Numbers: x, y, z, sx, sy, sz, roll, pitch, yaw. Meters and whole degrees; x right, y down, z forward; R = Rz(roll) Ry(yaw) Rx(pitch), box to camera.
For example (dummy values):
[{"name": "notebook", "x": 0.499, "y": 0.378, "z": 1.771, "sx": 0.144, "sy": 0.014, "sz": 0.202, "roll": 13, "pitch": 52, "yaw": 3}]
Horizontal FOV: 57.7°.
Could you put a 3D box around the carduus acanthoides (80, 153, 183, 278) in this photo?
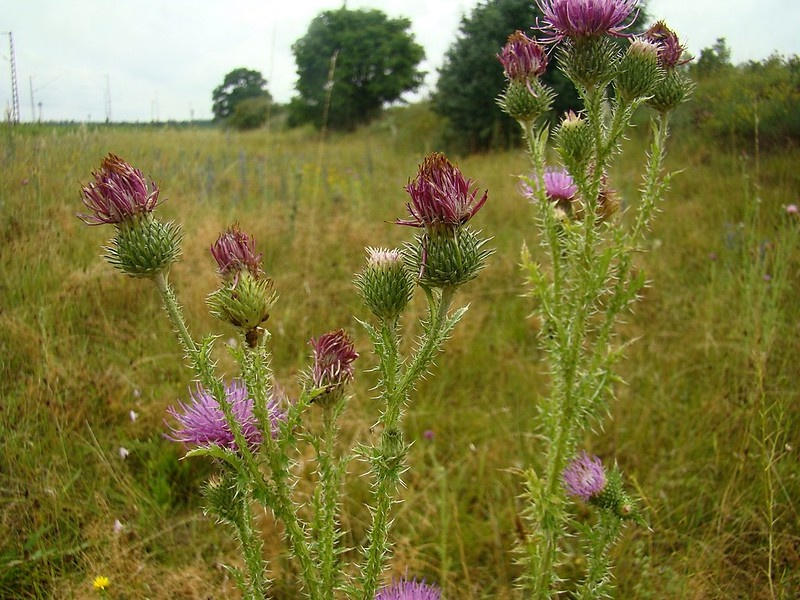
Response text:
[{"name": "carduus acanthoides", "x": -1.498, "y": -0.481, "z": 4.117, "sx": 0.460, "sy": 0.717, "sz": 0.466, "roll": -11, "pitch": 16, "yaw": 17}]

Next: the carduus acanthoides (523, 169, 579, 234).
[{"name": "carduus acanthoides", "x": 0.956, "y": -0.673, "z": 4.665, "sx": 0.375, "sy": 0.329, "sz": 0.861, "roll": 5, "pitch": 15, "yaw": 14}]

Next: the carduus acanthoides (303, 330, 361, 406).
[{"name": "carduus acanthoides", "x": -0.382, "y": 0.398, "z": 4.169, "sx": 0.282, "sy": 0.456, "sz": 0.290, "roll": -2, "pitch": -9, "yaw": 26}]

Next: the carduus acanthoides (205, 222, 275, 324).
[{"name": "carduus acanthoides", "x": -0.909, "y": -0.121, "z": 4.127, "sx": 0.362, "sy": 0.575, "sz": 0.315, "roll": -2, "pitch": 13, "yaw": -14}]

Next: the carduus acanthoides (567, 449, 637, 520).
[{"name": "carduus acanthoides", "x": 1.182, "y": 1.086, "z": 4.252, "sx": 0.376, "sy": 0.262, "sz": 0.300, "roll": 32, "pitch": 11, "yaw": 19}]

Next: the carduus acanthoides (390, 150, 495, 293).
[{"name": "carduus acanthoides", "x": 0.239, "y": -0.434, "z": 4.100, "sx": 0.469, "sy": 0.781, "sz": 0.503, "roll": -5, "pitch": 1, "yaw": 31}]
